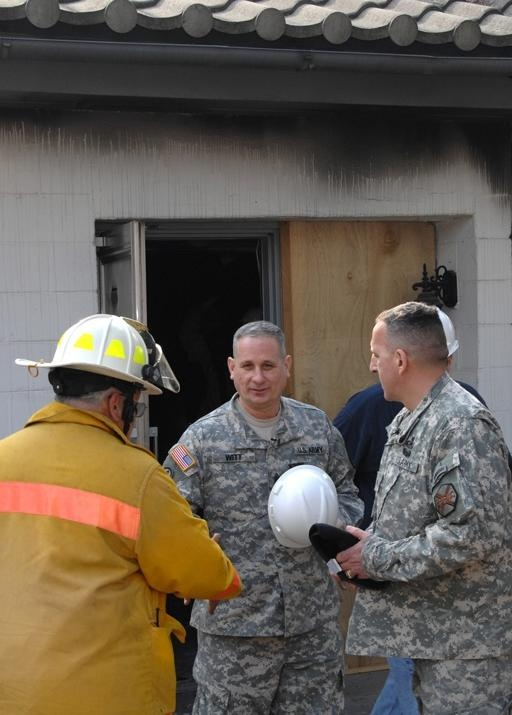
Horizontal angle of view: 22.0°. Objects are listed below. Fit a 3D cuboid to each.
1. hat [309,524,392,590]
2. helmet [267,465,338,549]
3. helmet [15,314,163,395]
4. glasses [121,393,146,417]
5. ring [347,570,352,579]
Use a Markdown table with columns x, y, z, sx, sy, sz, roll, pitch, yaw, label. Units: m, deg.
| x | y | z | sx | sy | sz | roll | pitch | yaw | label |
| --- | --- | --- | --- | --- | --- | --- | --- | --- | --- |
| 0.306 | 0.629 | 4.307 | 0.207 | 0.082 | 0.210 | 44 | 6 | 34 | hat |
| 0.164 | 0.510 | 4.563 | 0.237 | 0.276 | 0.099 | -8 | 2 | -28 | helmet |
| -0.485 | -0.023 | 4.027 | 0.317 | 0.166 | 0.222 | 14 | -3 | -27 | helmet |
| -0.378 | 0.154 | 4.067 | 0.055 | 0.080 | 0.058 | 11 | 6 | -3 | glasses |
| 0.302 | 0.709 | 4.283 | 0.016 | 0.023 | 0.017 | -11 | 7 | 1 | ring |
